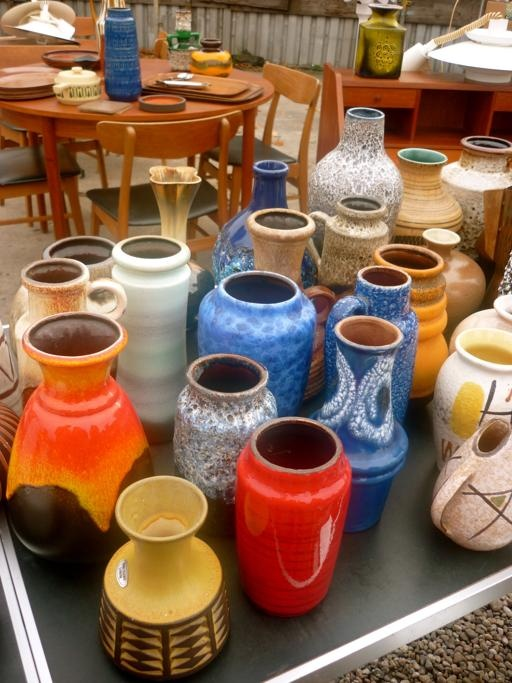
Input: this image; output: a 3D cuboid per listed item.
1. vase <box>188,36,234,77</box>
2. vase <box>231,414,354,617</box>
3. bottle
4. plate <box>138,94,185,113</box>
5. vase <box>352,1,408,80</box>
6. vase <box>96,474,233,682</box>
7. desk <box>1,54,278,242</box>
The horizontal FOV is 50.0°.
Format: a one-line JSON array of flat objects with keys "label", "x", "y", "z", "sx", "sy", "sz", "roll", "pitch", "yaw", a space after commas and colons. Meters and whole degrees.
[{"label": "vase", "x": -0.229, "y": -1.472, "z": 2.885, "sx": 0.225, "sy": 0.191, "sz": 0.211, "roll": -4, "pitch": 41, "yaw": -8}, {"label": "vase", "x": 0.030, "y": 0.194, "z": 0.555, "sx": 0.104, "sy": 0.232, "sz": 0.089, "roll": 17, "pitch": 31, "yaw": 24}, {"label": "bottle", "x": -0.515, "y": -1.086, "z": 2.084, "sx": 0.147, "sy": 0.323, "sz": 0.359, "roll": -3, "pitch": 28, "yaw": -11}, {"label": "plate", "x": -0.368, "y": -0.953, "z": 2.194, "sx": 0.169, "sy": 0.053, "sz": 0.257, "roll": 6, "pitch": 27, "yaw": 6}, {"label": "vase", "x": 0.562, "y": -1.369, "z": 2.486, "sx": 0.223, "sy": 0.317, "sz": 0.476, "roll": 8, "pitch": 27, "yaw": 9}, {"label": "vase", "x": -0.089, "y": 0.225, "z": 0.515, "sx": 0.120, "sy": 0.159, "sz": 0.117, "roll": -21, "pitch": 41, "yaw": -34}, {"label": "desk", "x": -0.575, "y": -1.111, "z": 2.618, "sx": 1.108, "sy": 1.002, "sz": 0.661, "roll": -6, "pitch": -11, "yaw": -6}]
